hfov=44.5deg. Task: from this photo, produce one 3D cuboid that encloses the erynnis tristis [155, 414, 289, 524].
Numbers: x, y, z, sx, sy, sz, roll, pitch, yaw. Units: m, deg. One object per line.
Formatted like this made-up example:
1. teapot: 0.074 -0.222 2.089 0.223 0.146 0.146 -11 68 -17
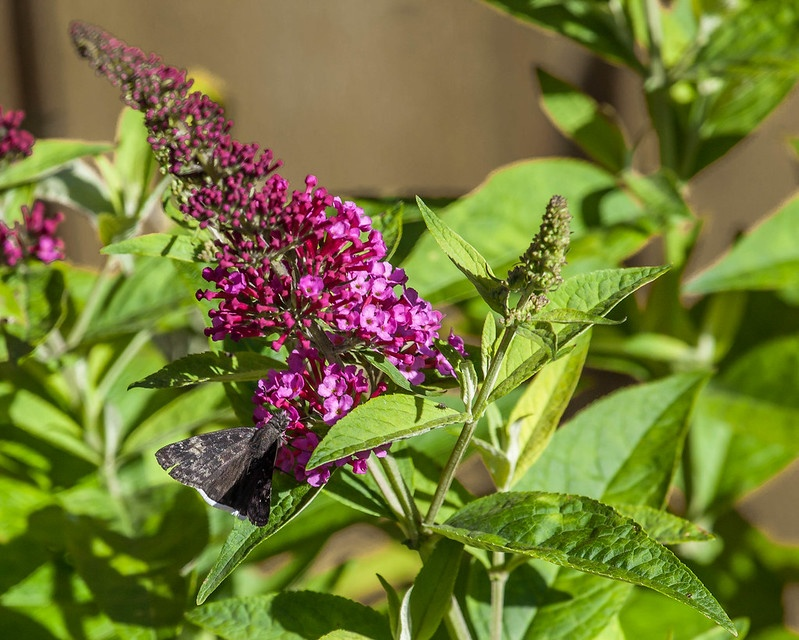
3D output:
1. erynnis tristis: -0.301 0.260 1.773 0.194 0.178 0.215 -4 11 3
